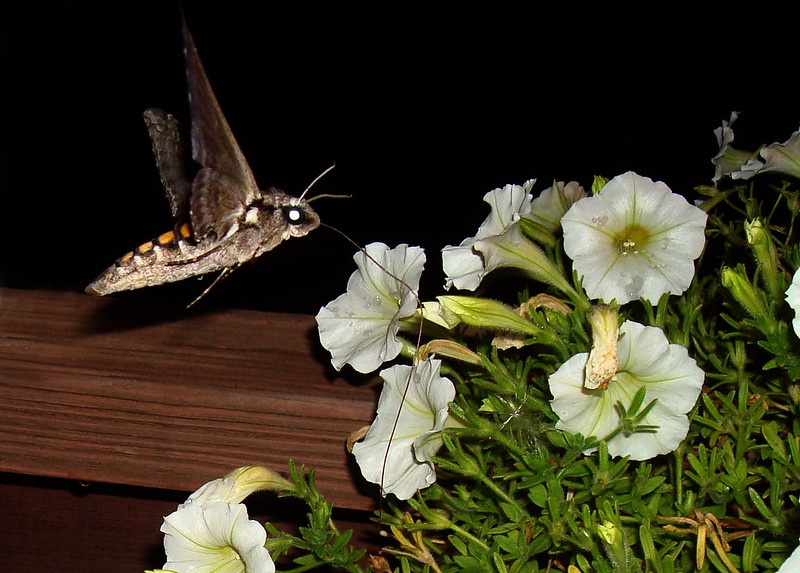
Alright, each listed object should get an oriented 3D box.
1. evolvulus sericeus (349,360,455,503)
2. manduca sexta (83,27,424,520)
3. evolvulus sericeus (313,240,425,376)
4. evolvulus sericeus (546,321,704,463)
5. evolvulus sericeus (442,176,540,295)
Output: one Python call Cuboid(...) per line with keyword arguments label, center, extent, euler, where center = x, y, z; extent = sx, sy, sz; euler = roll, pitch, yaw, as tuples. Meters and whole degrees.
Cuboid(label="evolvulus sericeus", center=(0.010, 0.249, 1.472), extent=(0.092, 0.236, 0.233), euler=(16, -25, -26))
Cuboid(label="manduca sexta", center=(-0.407, -0.059, 1.999), extent=(0.807, 1.076, 0.519), euler=(-5, 12, -21))
Cuboid(label="evolvulus sericeus", center=(-0.038, 0.047, 1.545), extent=(0.114, 0.276, 0.283), euler=(28, -3, -21))
Cuboid(label="evolvulus sericeus", center=(0.375, 0.188, 1.383), extent=(0.239, 0.249, 0.089), euler=(-16, -9, 2))
Cuboid(label="evolvulus sericeus", center=(0.165, -0.070, 1.516), extent=(0.134, 0.260, 0.124), euler=(-17, 37, -39))
